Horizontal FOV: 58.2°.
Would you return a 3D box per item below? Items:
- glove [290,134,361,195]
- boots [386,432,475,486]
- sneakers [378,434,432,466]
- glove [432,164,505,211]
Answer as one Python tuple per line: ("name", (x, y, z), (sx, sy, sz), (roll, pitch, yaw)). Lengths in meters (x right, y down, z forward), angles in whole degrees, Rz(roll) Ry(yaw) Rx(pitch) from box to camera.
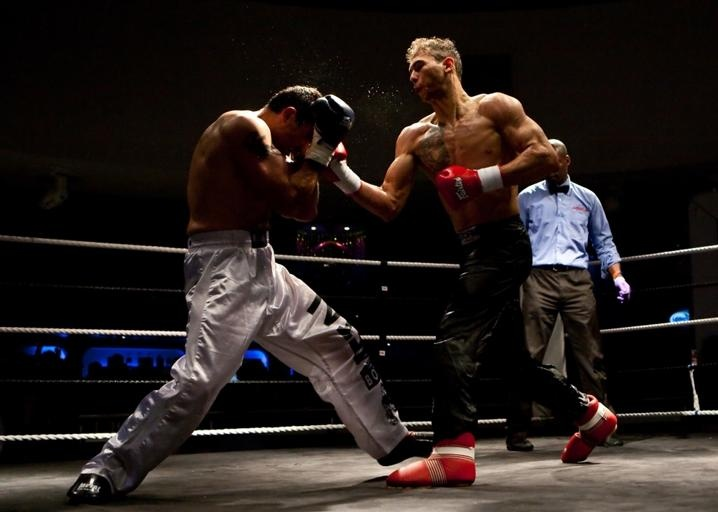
("glove", (-0.141, -0.440, 3.210), (0.329, 0.235, 0.145), (37, -29, -23))
("boots", (0.381, 0.968, 3.027), (0.523, 0.292, 0.174), (0, -22, 7))
("sneakers", (0.279, 0.945, 3.236), (0.400, 0.147, 0.134), (-5, -18, -1))
("glove", (0.525, -0.346, 3.075), (0.278, 0.123, 0.198), (-18, -14, 3))
